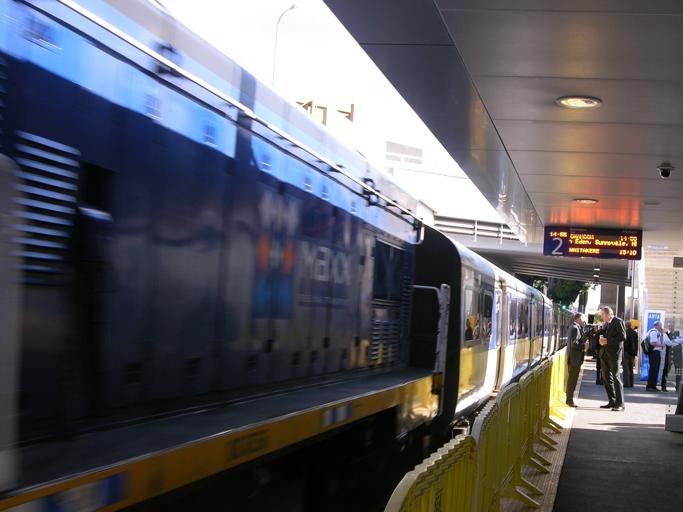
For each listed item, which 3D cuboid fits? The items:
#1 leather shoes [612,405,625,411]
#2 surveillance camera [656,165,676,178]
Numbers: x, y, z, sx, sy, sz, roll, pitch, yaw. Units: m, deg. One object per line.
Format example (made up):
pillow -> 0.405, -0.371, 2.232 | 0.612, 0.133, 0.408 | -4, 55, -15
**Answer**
leather shoes -> 7.973, 4.375, 13.944 | 0.142, 0.164, 0.369 | 9, -8, -40
surveillance camera -> 6.543, -1.720, 9.721 | 0.348, 0.258, 0.356 | 1, 0, 2
